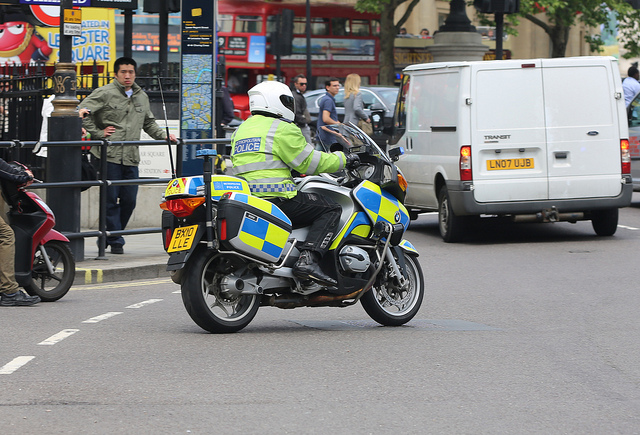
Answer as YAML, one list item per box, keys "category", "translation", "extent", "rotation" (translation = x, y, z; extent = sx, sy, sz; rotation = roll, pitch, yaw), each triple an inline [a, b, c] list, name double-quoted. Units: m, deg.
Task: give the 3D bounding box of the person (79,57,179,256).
- category: "person"
  translation: [-2.760, -0.891, 11.833]
  extent: [1.157, 2.787, 0.767]
  rotation: [-2, 8, -10]

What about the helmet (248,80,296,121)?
- category: "helmet"
  translation: [-0.462, -1.118, 7.897]
  extent: [0.435, 0.316, 0.330]
  rotation: [-22, 41, -38]

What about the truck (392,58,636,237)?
- category: "truck"
  translation: [2.935, -1.398, 14.723]
  extent: [2.902, 2.036, 4.312]
  rotation: [-2, 7, -12]

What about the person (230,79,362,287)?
- category: "person"
  translation: [-0.243, -0.315, 7.750]
  extent: [1.182, 1.906, 0.661]
  rotation: [0, 8, 2]

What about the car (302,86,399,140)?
- category: "car"
  translation: [1.080, -3.176, 24.608]
  extent: [3.151, 1.126, 1.433]
  rotation: [-3, 7, 3]

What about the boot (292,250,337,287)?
- category: "boot"
  translation: [-0.017, 0.462, 7.720]
  extent: [0.509, 0.298, 0.169]
  rotation: [27, -27, -33]

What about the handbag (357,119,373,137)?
- category: "handbag"
  translation: [1.065, -2.059, 18.781]
  extent: [0.471, 0.510, 0.203]
  rotation: [5, 10, 3]
